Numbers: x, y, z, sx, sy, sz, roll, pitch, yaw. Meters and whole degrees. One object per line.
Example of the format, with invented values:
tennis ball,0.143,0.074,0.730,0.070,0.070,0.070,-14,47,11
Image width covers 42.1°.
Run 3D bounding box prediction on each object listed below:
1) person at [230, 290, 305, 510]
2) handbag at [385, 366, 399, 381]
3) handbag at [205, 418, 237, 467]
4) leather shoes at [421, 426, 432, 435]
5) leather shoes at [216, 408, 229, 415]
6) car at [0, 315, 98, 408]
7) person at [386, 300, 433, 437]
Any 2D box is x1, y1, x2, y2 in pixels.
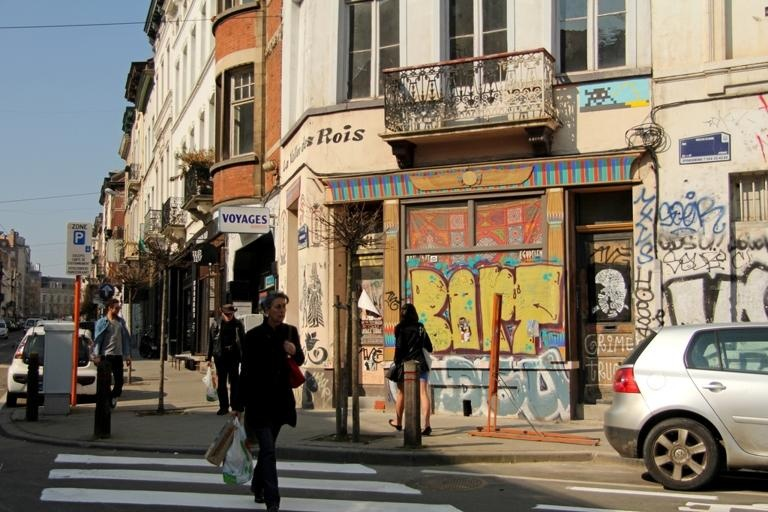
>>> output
person,-1.658,2.047,14.275,0.931,3.063,0.378,0,-6,-5
handbag,0.154,2.243,19.196,0.204,0.299,0.543,0,-6,-1
handbag,-2.340,2.637,14.290,0.428,0.686,0.294,1,-6,-9
leather shoes,0.773,3.250,18.637,0.185,0.146,0.359,0,-2,-12
leather shoes,-3.377,3.241,20.828,0.205,0.137,0.123,22,-23,-35
car,-7.719,2.505,23.283,1.796,1.590,3.135,0,3,-11
person,0.464,2.128,19.026,0.854,2.456,0.835,-2,-6,13
